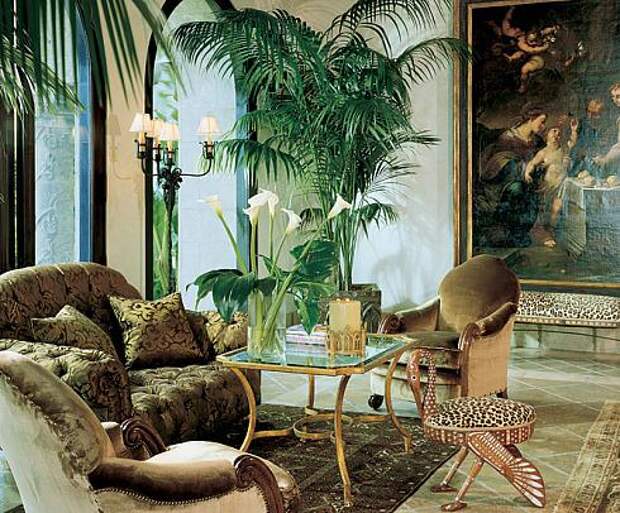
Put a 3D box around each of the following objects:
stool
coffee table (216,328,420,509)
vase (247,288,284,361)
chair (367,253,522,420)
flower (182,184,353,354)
[{"bbox_3d":[0.708,0.774,2.851,0.637,0.801,0.483,-3,2,-7],"label":"stool"},{"bbox_3d":[0.048,0.650,2.927,0.759,0.535,0.799,0,3,5],"label":"coffee table"},{"bbox_3d":[-0.208,0.322,2.857,0.191,0.330,0.189,1,-1,-30],"label":"vase"},{"bbox_3d":[0.873,0.517,4.101,0.886,1.211,1.050,-2,-3,44],"label":"chair"},{"bbox_3d":[-0.342,0.044,4.060,1.043,1.259,1.098,3,13,11],"label":"flower"}]
